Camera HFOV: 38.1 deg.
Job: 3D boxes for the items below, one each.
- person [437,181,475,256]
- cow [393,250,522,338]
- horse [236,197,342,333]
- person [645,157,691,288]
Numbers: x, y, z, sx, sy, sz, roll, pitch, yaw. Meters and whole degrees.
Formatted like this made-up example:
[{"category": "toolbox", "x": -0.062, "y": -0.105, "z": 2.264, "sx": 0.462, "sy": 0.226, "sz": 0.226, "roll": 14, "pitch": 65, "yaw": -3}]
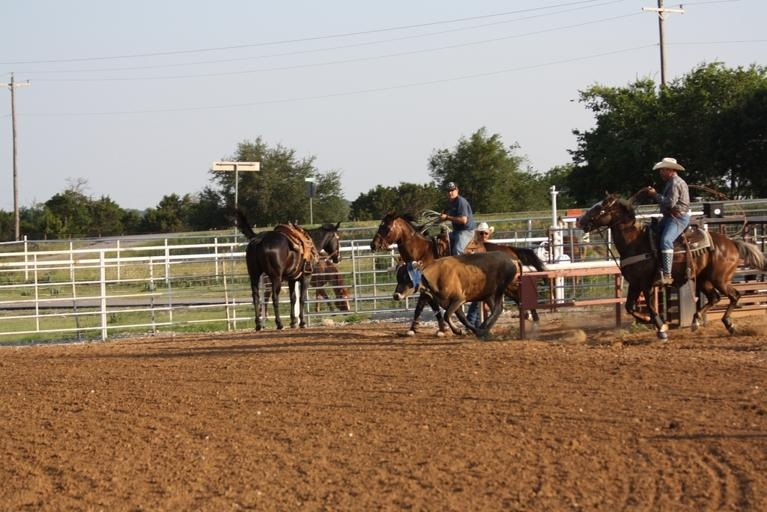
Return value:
[{"category": "person", "x": 1.695, "y": -0.861, "z": 25.469, "sx": 0.619, "sy": 1.449, "sz": 0.883, "roll": -7, "pitch": -2, "yaw": 41}, {"category": "cow", "x": 1.673, "y": 0.765, "z": 24.281, "sx": 2.643, "sy": 1.522, "sz": 0.821, "roll": -4, "pitch": -2, "yaw": -29}, {"category": "horse", "x": -2.271, "y": 0.333, "z": 27.695, "sx": 1.147, "sy": 2.780, "sz": 3.792, "roll": -4, "pitch": -4, "yaw": 38}, {"category": "person", "x": 6.229, "y": -0.770, "z": 24.016, "sx": 0.801, "sy": 2.619, "sz": 1.090, "roll": -6, "pitch": -2, "yaw": 18}]
